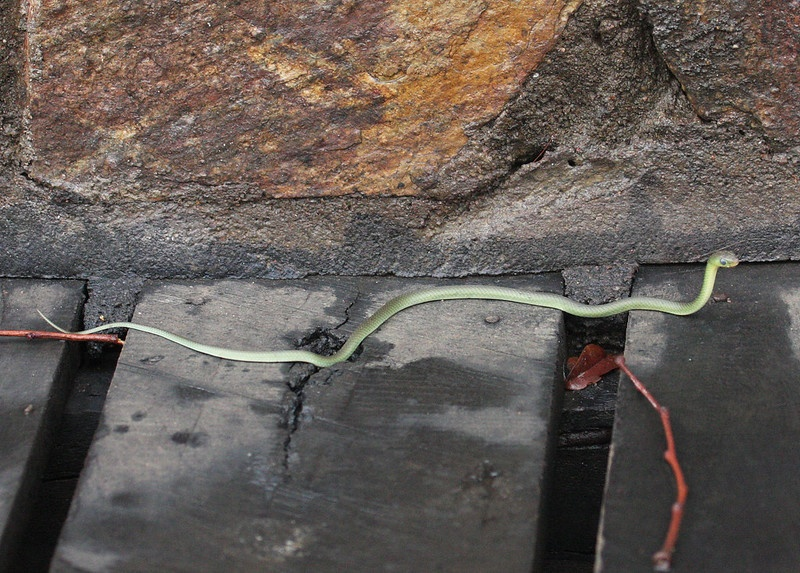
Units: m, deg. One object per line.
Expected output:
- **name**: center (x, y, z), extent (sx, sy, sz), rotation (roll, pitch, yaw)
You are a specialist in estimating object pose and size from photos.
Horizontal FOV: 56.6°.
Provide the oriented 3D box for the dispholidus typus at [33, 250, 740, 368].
- **dispholidus typus**: center (0.023, 0.116, 3.318), extent (2.350, 0.318, 0.274), rotation (-5, 65, 6)
